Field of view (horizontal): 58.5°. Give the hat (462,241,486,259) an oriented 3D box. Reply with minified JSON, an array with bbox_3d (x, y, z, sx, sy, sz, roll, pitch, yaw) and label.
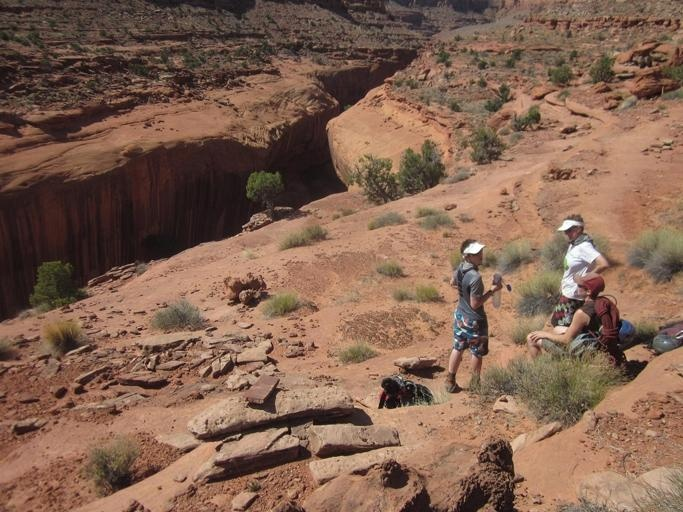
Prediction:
[{"bbox_3d":[3.481,-0.124,15.973,0.491,0.191,0.352,-21,7,47],"label":"hat"}]

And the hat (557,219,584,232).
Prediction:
[{"bbox_3d":[6.014,-0.820,15.885,0.558,0.212,0.353,-11,4,-6],"label":"hat"}]
